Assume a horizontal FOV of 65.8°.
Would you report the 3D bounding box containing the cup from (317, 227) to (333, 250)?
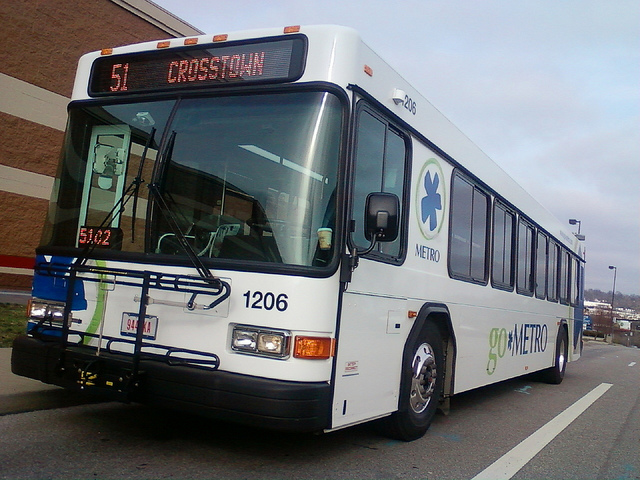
[{"bbox_3d":[0.031,-0.007,4.210,0.205,0.156,0.171,-2,-4,6],"label":"cup"}]
